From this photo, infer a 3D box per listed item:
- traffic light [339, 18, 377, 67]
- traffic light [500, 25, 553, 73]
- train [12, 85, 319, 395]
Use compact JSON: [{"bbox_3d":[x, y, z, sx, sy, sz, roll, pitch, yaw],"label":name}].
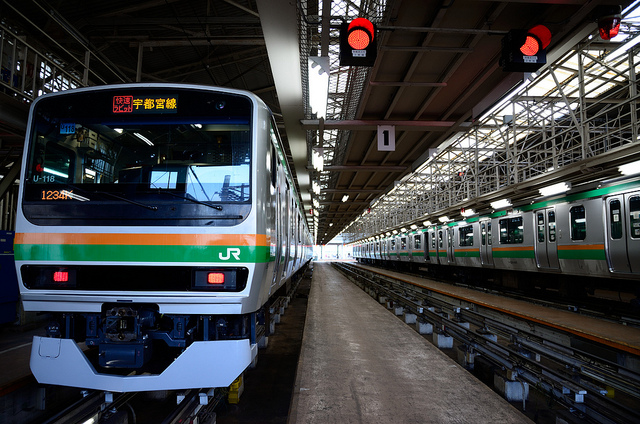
[{"bbox_3d":[0.722,-3.210,7.812,0.664,0.587,0.486,1,8,-3],"label":"traffic light"},{"bbox_3d":[4.016,-3.231,8.114,0.945,0.908,0.260,-2,5,-5],"label":"traffic light"},{"bbox_3d":[-2.510,0.594,6.244,3.590,4.978,1.504,-2,5,1],"label":"train"}]
